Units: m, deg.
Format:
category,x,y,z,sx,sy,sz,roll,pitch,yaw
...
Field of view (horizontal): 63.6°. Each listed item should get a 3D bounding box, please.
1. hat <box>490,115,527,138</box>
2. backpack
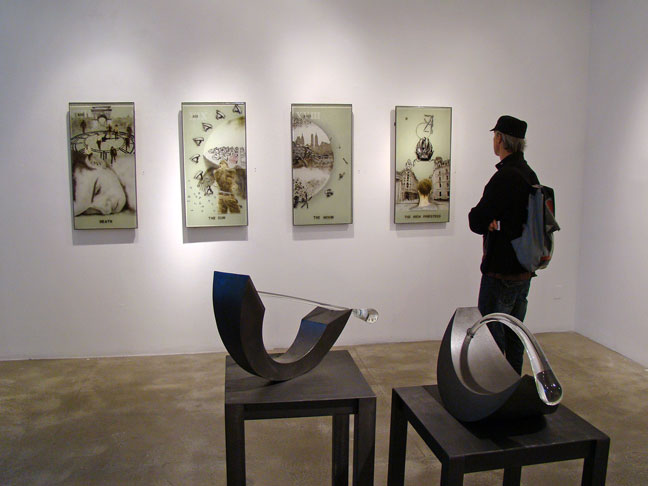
category,x,y,z,sx,sy,sz,roll,pitch,yaw
hat,1.394,-0.882,3.930,0.210,0.122,0.157,30,27,36
backpack,1.569,-0.099,3.831,0.354,0.676,0.141,-5,10,-24
